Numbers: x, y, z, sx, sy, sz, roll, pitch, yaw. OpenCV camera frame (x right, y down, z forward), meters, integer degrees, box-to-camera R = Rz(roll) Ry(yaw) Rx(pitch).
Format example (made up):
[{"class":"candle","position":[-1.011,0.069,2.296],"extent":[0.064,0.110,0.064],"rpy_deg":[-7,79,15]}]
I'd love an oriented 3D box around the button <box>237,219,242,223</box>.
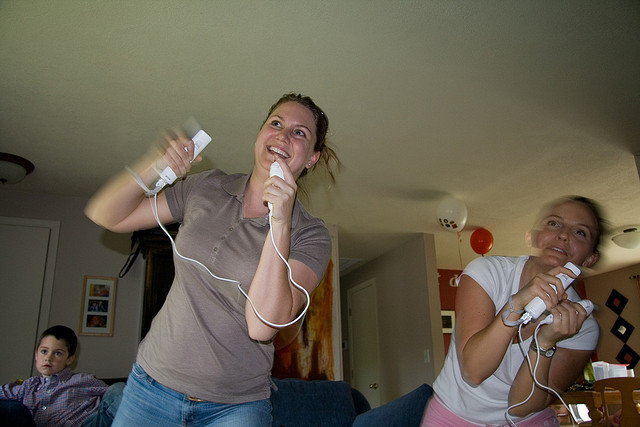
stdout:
[{"class":"button","position":[-0.316,0.031,1.659],"extent":[0.012,0.012,0.003],"rpy_deg":[15,5,4]}]

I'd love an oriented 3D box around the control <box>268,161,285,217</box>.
[{"class":"control","position":[-0.155,-0.092,1.551],"extent":[0.046,0.210,0.054],"rpy_deg":[6,-15,-9]}]

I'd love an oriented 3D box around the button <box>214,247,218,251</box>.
[{"class":"button","position":[-0.394,0.138,1.595],"extent":[0.013,0.014,0.004],"rpy_deg":[2,-2,-4]}]

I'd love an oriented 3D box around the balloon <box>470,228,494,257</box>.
[{"class":"balloon","position":[2.008,0.357,5.216],"extent":[0.313,0.378,0.321],"rpy_deg":[0,9,40]}]

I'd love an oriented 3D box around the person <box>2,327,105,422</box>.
[{"class":"person","position":[-2.253,1.326,3.480],"extent":[0.871,0.603,0.295],"rpy_deg":[-4,-40,-8]}]

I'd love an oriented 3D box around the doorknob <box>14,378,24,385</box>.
[{"class":"doorknob","position":[-2.199,1.244,3.089],"extent":[0.046,0.033,0.165],"rpy_deg":[15,-22,-32]}]

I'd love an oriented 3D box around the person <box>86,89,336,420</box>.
[{"class":"person","position":[-0.407,0.077,1.671],"extent":[0.891,1.411,0.455],"rpy_deg":[1,-18,4]}]

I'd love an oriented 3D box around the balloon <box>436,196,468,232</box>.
[{"class":"balloon","position":[1.522,0.015,5.015],"extent":[0.371,0.451,0.373],"rpy_deg":[-6,2,3]}]

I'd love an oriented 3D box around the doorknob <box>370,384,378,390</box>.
[{"class":"doorknob","position":[0.907,2.910,7.030],"extent":[0.046,0.087,0.122],"rpy_deg":[4,-8,-19]}]

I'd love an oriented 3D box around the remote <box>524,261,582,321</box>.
[{"class":"remote","position":[0.953,0.317,1.721],"extent":[0.174,0.234,0.218],"rpy_deg":[-13,-24,40]}]

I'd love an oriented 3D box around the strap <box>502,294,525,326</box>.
[{"class":"strap","position":[0.777,0.391,1.686],"extent":[0.068,0.111,0.028],"rpy_deg":[17,-12,-36]}]
